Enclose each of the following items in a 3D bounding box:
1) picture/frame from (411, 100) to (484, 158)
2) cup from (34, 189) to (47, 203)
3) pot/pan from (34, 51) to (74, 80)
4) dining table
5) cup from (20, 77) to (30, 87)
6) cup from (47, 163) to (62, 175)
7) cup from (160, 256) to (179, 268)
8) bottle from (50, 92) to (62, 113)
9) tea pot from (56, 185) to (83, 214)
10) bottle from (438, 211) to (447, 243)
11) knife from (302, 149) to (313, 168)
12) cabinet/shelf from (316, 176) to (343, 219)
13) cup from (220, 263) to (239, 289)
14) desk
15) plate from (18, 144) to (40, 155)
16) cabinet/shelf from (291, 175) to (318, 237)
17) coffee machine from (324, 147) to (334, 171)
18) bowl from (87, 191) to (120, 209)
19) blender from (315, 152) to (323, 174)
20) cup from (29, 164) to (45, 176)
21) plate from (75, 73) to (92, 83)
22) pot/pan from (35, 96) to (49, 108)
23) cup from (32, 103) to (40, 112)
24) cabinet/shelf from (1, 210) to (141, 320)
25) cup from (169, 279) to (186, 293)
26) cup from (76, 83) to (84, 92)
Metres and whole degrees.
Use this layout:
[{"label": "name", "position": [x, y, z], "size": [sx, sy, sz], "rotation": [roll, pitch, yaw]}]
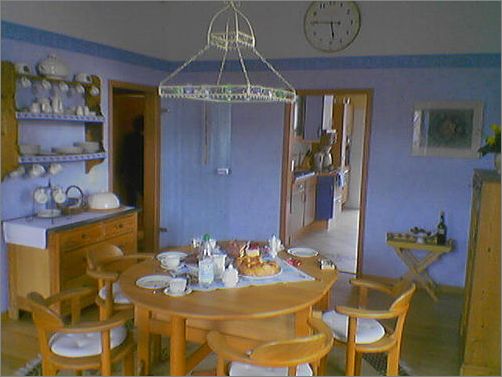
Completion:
[{"label": "picture/frame", "position": [2.479, -0.762, 5.108], "size": [0.746, 0.654, 0.053], "rotation": [4, 6, 14]}, {"label": "cup", "position": [-2.261, 0.088, 4.433], "size": [0.129, 0.178, 0.268], "rotation": [-2, 6, -26]}, {"label": "pot/pan", "position": [-2.101, -1.274, 4.407], "size": [0.281, 0.245, 0.287], "rotation": [2, 6, 33]}, {"label": "dining table", "position": [-0.174, 0.864, 2.915], "size": [0.926, 0.594, 1.172], "rotation": [4, 10, 32]}, {"label": "cup", "position": [-2.273, -1.066, 4.152], "size": [0.080, 0.096, 0.045], "rotation": [-33, 18, -33]}, {"label": "cup", "position": [-2.172, -0.221, 4.602], "size": [0.123, 0.121, 0.124], "rotation": [-6, -21, -2]}, {"label": "cup", "position": [-0.646, 0.594, 3.326], "size": [0.098, 0.078, 0.110], "rotation": [0, -2, 2]}, {"label": "bottle", "position": [-2.067, -0.914, 4.389], "size": [0.052, 0.186, 0.140], "rotation": [-9, 4, 45]}, {"label": "tea pot", "position": [-2.022, 0.135, 4.687], "size": [0.205, 0.326, 0.334], "rotation": [4, 7, 19]}, {"label": "bottle", "position": [2.384, 0.473, 5.113], "size": [0.122, 0.395, 0.312], "rotation": [3, 6, 25]}, {"label": "knife", "position": [1.110, -0.602, 8.007], "size": [0.144, 0.338, 0.541], "rotation": [2, 5, 15]}, {"label": "cabinet/shelf", "position": [1.510, 0.145, 8.013], "size": [0.310, 0.783, 0.829], "rotation": [0, 2, 19]}, {"label": "cup", "position": [-0.150, 0.652, 3.082], "size": [0.145, 0.174, 0.139], "rotation": [-1, 9, 0]}, {"label": "desk", "position": [2.088, 0.924, 5.256], "size": [0.976, 1.024, 0.556], "rotation": [0, 8, 24]}, {"label": "plate", "position": [-2.295, -0.408, 4.237], "size": [0.152, 0.113, 0.333], "rotation": [1, 5, 7]}, {"label": "cabinet/shelf", "position": [0.918, 0.286, 7.174], "size": [0.392, 0.891, 1.007], "rotation": [2, 7, 22]}, {"label": "coffee machine", "position": [1.562, -0.591, 8.290], "size": [0.188, 0.410, 0.340], "rotation": [1, 5, 11]}, {"label": "bowl", "position": [-1.712, 0.148, 4.804], "size": [0.232, 0.127, 0.233], "rotation": [2, 10, 0]}, {"label": "blender", "position": [1.356, -0.525, 8.184], "size": [0.168, 0.363, 0.322], "rotation": [1, 5, 9]}, {"label": "cup", "position": [-2.267, -0.194, 4.344], "size": [0.134, 0.135, 0.062], "rotation": [-3, 6, -36]}, {"label": "plate", "position": [-1.922, -1.258, 4.721], "size": [0.128, 0.110, 0.157], "rotation": [-3, 7, -2]}, {"label": "pot/pan", "position": [-2.167, -0.904, 4.345], "size": [0.128, 0.152, 0.130], "rotation": [2, 16, -1]}, {"label": "cup", "position": [-2.196, -0.833, 4.211], "size": [0.085, 0.086, 0.087], "rotation": [-1, 10, 0]}, {"label": "cabinet/shelf", "position": [-2.059, 0.436, 4.666], "size": [0.924, 1.253, 1.726], "rotation": [2, 6, 27]}, {"label": "cup", "position": [-0.515, 0.679, 2.936], "size": [0.094, 0.065, 0.100], "rotation": [1, 15, 0]}, {"label": "cup", "position": [-1.930, -1.132, 4.629], "size": [0.071, 0.092, 0.096], "rotation": [9, 13, -17]}]
